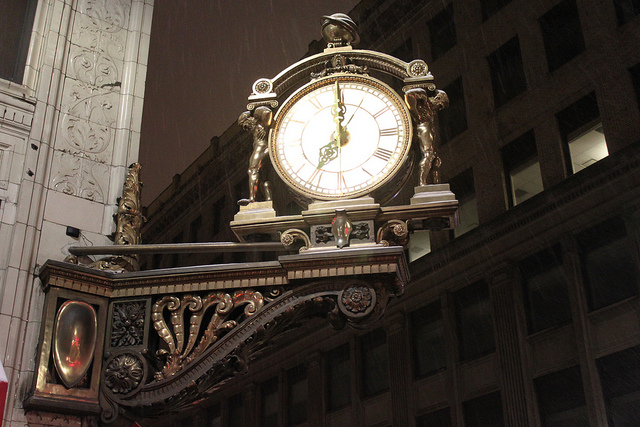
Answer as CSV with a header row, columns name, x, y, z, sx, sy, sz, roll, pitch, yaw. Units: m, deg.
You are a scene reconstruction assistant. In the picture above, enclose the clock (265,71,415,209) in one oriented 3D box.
name,x,y,z,sx,sy,sz,roll,pitch,yaw
clock,0.227,-0.856,10.638,1.650,0.489,1.959,-1,-40,4
